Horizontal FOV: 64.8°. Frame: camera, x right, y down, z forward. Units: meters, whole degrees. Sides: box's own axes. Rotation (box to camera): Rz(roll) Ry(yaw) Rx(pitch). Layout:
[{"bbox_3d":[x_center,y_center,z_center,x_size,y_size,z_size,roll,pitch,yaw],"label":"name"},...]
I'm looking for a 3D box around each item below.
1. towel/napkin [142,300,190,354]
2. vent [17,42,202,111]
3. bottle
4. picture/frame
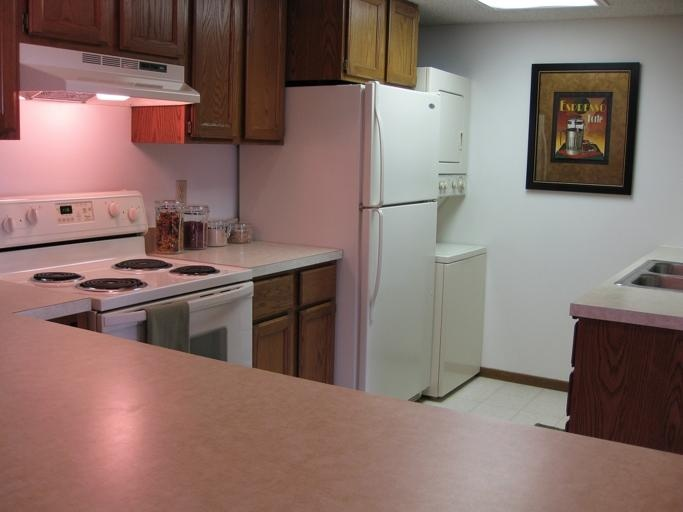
[{"bbox_3d":[-0.679,0.266,2.054,0.022,0.216,0.199,8,8,38],"label":"towel/napkin"},{"bbox_3d":[-0.947,-0.759,2.272,0.095,0.213,0.769,8,10,37],"label":"vent"},{"bbox_3d":[-0.820,-0.179,3.112,0.190,0.283,0.606,7,10,35],"label":"bottle"},{"bbox_3d":[1.776,-0.945,3.895,0.852,1.211,0.083,5,9,27],"label":"picture/frame"}]
